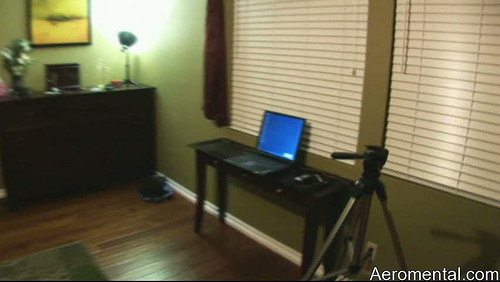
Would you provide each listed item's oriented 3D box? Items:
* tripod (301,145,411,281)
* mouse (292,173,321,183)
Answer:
[{"bbox_3d":[0.869,0.661,2.794,0.801,1.147,0.576,-15,26,-32],"label":"tripod"},{"bbox_3d":[0.519,0.351,3.323,0.137,0.037,0.134,-9,15,-40],"label":"mouse"}]
